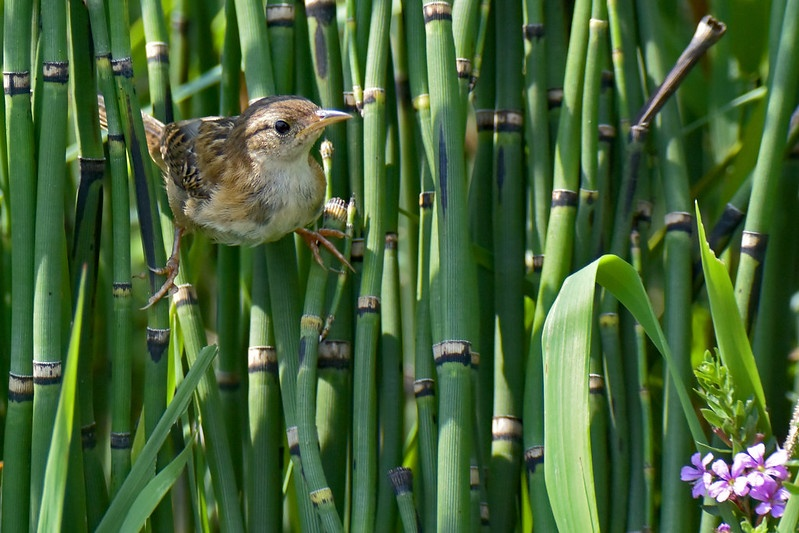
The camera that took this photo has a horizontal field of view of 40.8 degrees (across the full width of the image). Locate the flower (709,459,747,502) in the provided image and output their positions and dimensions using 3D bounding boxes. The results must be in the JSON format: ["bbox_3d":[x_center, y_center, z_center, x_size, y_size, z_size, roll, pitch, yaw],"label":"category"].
[{"bbox_3d":[0.648,0.420,2.112,0.090,0.028,0.100,-37,4,39],"label":"flower"}]

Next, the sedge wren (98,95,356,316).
[{"bbox_3d":[-0.406,-0.210,2.744,0.462,0.480,0.684,-20,50,-38],"label":"sedge wren"}]

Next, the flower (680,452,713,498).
[{"bbox_3d":[0.621,0.413,2.175,0.076,0.037,0.094,-17,-38,17],"label":"flower"}]

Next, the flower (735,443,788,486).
[{"bbox_3d":[0.711,0.387,2.106,0.087,0.027,0.086,-11,11,-30],"label":"flower"}]
